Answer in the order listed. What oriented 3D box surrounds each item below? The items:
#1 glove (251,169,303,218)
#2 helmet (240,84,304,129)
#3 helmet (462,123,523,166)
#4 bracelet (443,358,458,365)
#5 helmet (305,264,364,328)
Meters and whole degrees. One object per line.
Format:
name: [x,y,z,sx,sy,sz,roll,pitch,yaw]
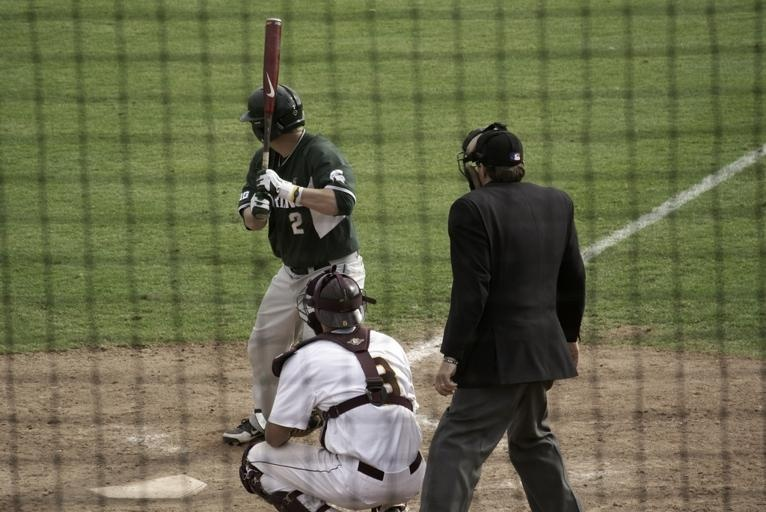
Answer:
glove: [-1.083,-0.647,14.573,0.523,0.502,0.155,-1,2,24]
helmet: [-1.126,-1.549,14.798,0.684,0.331,0.416,4,20,9]
helmet: [1.035,-1.097,14.040,0.497,0.324,0.499,-5,27,-20]
bracelet: [0.642,0.998,13.774,0.072,0.026,0.082,18,1,-32]
helmet: [-0.478,0.422,14.196,0.566,0.434,0.617,-2,4,-13]
